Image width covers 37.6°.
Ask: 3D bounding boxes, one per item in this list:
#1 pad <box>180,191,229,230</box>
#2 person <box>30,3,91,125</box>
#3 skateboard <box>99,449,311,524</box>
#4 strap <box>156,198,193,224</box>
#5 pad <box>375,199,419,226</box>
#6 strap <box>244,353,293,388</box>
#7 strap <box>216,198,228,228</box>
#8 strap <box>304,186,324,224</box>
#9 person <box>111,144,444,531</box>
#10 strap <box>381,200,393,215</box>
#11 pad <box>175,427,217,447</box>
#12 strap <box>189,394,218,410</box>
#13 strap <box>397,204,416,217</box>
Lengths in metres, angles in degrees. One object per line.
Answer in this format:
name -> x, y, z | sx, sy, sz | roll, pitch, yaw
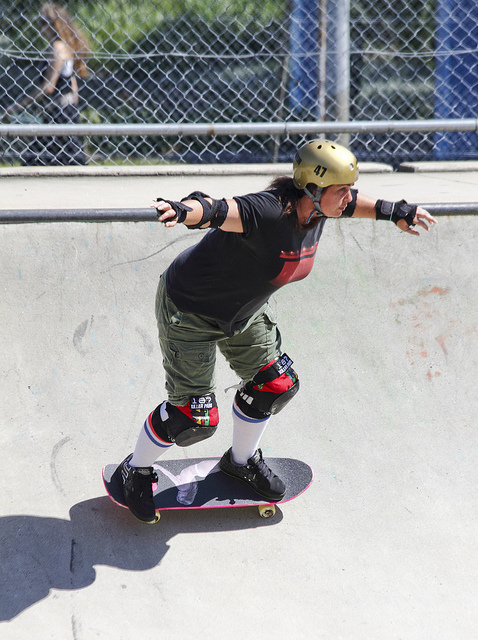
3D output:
pad -> -0.095, -0.392, 2.545 | 0.201, 0.134, 0.243 | -3, 34, -6
person -> -1.209, -1.691, 4.771 | 0.409, 0.845, 0.576 | -5, 33, -15
skateboard -> -0.145, 0.845, 3.460 | 1.222, 0.200, 0.353 | -2, 51, -11
strap -> -0.225, -0.392, 2.482 | 0.123, 0.080, 0.033 | 5, 34, -10
pad -> 0.716, -0.498, 3.198 | 0.175, 0.099, 0.081 | 2, 8, -5
strap -> 0.143, 0.228, 3.212 | 0.184, 0.069, 0.128 | -28, 10, 15
strap -> -0.060, -0.398, 2.560 | 0.033, 0.077, 0.060 | 11, 7, -3
strap -> 0.298, -0.457, 2.742 | 0.038, 0.119, 0.087 | 8, 37, -20
person -> 0.087, 0.036, 3.214 | 1.418, 1.767, 0.673 | -4, 26, -31
strap -> 0.671, -0.511, 3.199 | 0.056, 0.051, 0.042 | 9, 32, 7
pad -> -0.195, 0.521, 3.146 | 0.165, 0.085, 0.045 | -20, 24, -1
strap -> -0.156, 0.363, 3.107 | 0.080, 0.048, 0.075 | 0, -5, -6
strap -> 0.766, -0.503, 3.214 | 0.049, 0.043, 0.099 | 22, 34, 27
